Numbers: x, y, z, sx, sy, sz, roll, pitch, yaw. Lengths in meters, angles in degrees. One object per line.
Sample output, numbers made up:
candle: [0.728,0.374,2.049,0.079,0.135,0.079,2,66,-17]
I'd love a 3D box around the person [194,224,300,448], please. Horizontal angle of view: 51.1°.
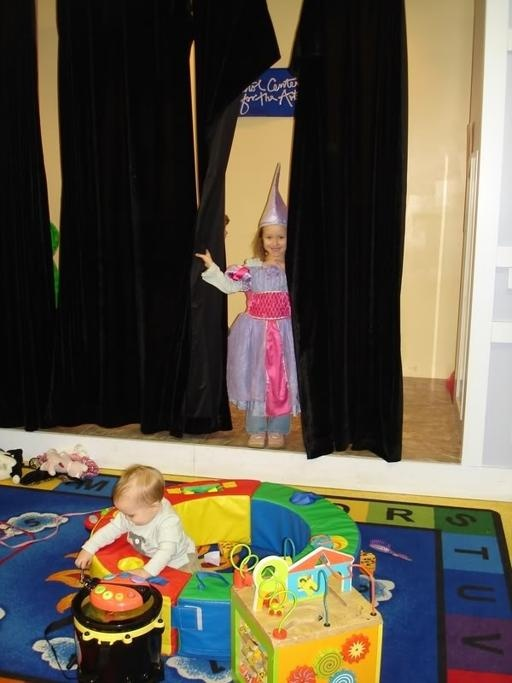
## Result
person: [0.013,-0.070,2.341,0.360,1.001,0.269,-7,28,-15]

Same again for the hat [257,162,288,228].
hat: [0.072,-0.648,2.351,0.120,0.308,0.380,0,6,0]
